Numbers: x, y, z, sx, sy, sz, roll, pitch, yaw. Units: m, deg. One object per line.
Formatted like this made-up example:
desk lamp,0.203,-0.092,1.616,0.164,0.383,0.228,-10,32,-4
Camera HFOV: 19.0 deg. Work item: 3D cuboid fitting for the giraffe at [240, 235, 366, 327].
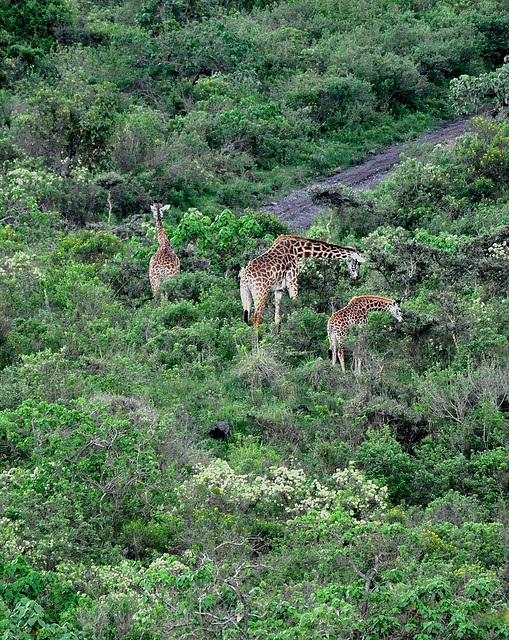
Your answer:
giraffe,1.092,-0.942,32.393,2.867,2.049,0.746,-8,15,-19

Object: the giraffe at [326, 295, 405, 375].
giraffe,2.248,0.175,31.148,1.433,1.313,0.700,-5,10,-7

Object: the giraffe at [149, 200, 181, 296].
giraffe,-1.985,-1.576,33.651,0.674,2.046,0.512,-6,10,-18
